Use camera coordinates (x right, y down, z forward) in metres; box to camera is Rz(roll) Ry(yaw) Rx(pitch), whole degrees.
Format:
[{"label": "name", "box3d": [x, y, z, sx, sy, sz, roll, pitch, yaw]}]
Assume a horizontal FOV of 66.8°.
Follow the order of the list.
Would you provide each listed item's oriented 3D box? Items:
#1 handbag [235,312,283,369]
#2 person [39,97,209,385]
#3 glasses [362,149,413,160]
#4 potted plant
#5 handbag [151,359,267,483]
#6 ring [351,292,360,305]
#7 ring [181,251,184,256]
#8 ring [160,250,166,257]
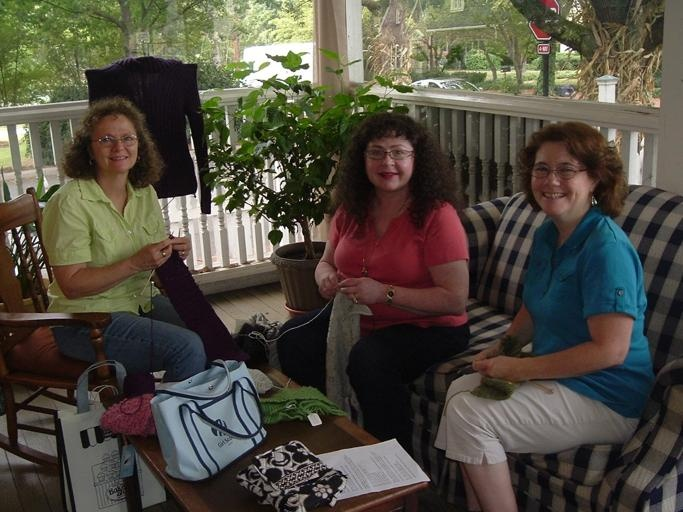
[{"label": "handbag", "box3d": [-0.369, 0.372, 2.293, 0.217, 0.194, 0.091, 22, -38, -35]}, {"label": "person", "box3d": [-0.921, -0.061, 2.081, 0.595, 1.185, 0.570, -8, 12, -20]}, {"label": "glasses", "box3d": [0.196, -0.407, 2.070, 0.180, 0.051, 0.041, -2, 11, 5]}, {"label": "potted plant", "box3d": [-0.243, -0.521, 3.826, 1.561, 1.704, 1.572, 1, 9, 28]}, {"label": "handbag", "box3d": [-0.411, 0.504, 1.592, 0.204, 0.270, 0.350, -5, 7, 37]}, {"label": "ring", "box3d": [0.055, 0.161, 2.012, 0.030, 0.037, 0.035, -22, -12, 18]}, {"label": "ring", "box3d": [-0.697, -0.016, 2.256, 0.025, 0.021, 0.007, 0, 3, -18]}, {"label": "ring", "box3d": [-0.722, -0.007, 2.091, 0.016, 0.020, 0.023, 7, 3, 8]}]
